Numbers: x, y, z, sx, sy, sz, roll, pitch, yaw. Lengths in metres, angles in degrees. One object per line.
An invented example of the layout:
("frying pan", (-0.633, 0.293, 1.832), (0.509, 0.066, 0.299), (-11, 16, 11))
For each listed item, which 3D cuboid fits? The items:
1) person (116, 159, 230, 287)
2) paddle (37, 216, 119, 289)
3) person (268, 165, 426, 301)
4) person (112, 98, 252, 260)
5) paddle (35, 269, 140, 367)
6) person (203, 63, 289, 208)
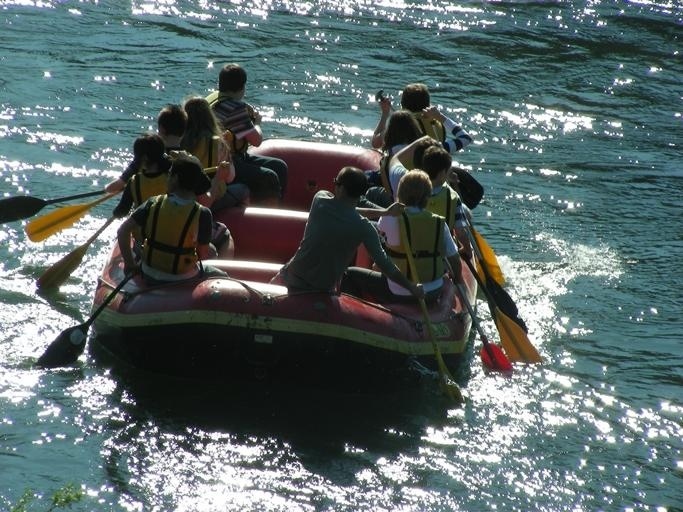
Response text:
("person", (-1.278, -0.359, 7.347), (0.848, 1.148, 0.848), (9, 18, -1))
("paddle", (-2.376, 0.000, 8.253), (0.119, 0.837, 0.070), (47, -11, -24))
("person", (0.021, -0.170, 7.004), (0.963, 0.990, 0.226), (6, 19, 4))
("person", (-1.266, -0.581, 7.569), (0.894, 0.312, 1.567), (4, 49, -12))
("paddle", (-2.031, 0.532, 7.400), (0.163, 0.846, 0.059), (46, -3, 2))
("person", (-0.909, -0.979, 8.573), (0.794, 1.454, 0.557), (-4, 13, -40))
